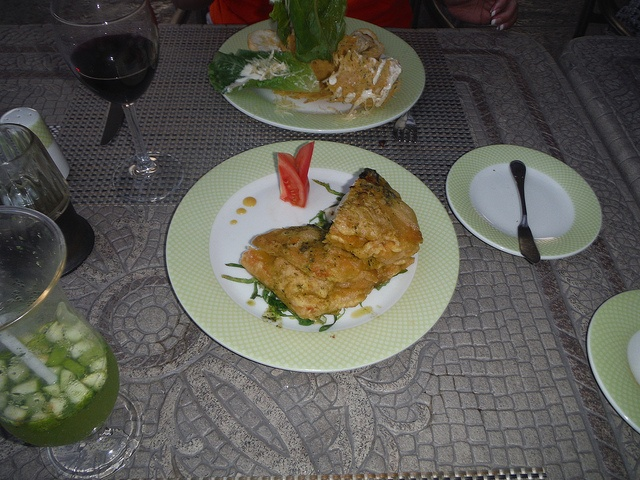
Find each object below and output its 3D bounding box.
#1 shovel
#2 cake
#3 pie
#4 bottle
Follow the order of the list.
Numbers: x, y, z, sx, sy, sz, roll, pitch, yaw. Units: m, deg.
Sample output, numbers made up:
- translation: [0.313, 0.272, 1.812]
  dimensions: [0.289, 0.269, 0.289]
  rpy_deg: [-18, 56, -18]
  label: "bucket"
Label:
- translation: [0.793, -0.120, 1.927]
  dimensions: [0.066, 0.038, 0.539]
  rpy_deg: [5, 44, 11]
  label: "shovel"
- translation: [0.132, -0.742, 2.345]
  dimensions: [0.465, 0.099, 0.449]
  rpy_deg: [-35, 59, -6]
  label: "cake"
- translation: [0.089, 0.077, 1.826]
  dimensions: [0.442, 0.183, 0.579]
  rpy_deg: [42, 72, 12]
  label: "pie"
- translation: [-0.999, -0.335, 1.760]
  dimensions: [0.186, 0.293, 0.192]
  rpy_deg: [-5, 102, -23]
  label: "bottle"
